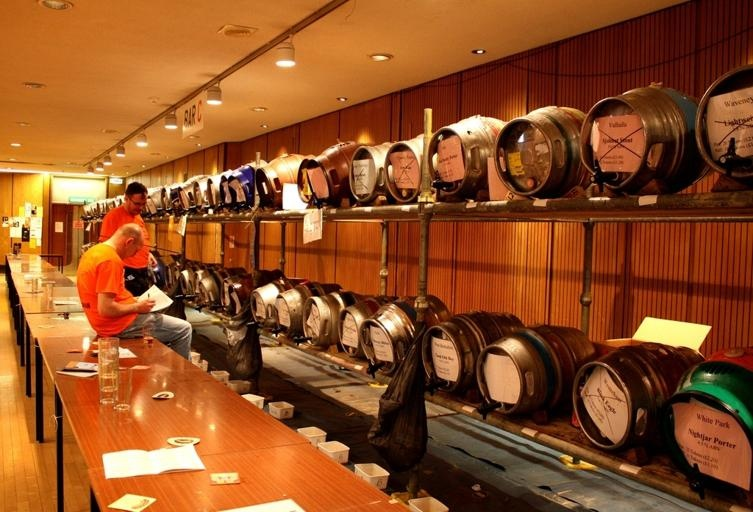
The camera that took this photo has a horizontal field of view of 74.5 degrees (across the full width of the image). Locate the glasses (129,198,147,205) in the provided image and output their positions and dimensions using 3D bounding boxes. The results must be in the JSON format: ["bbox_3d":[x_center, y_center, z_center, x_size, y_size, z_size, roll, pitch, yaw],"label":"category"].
[{"bbox_3d":[-2.499,-0.569,5.166,0.131,0.044,0.128,7,9,36],"label":"glasses"}]
